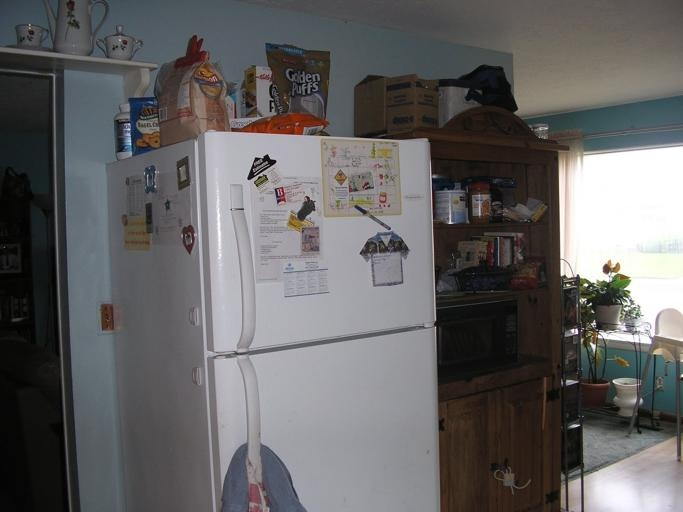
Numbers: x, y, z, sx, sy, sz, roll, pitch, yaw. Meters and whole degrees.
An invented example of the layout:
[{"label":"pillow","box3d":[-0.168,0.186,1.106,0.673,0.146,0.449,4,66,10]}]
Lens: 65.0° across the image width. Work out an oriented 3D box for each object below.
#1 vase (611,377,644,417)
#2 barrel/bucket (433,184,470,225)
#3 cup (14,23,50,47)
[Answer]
[{"label":"vase","box3d":[2.743,1.363,5.172,0.279,0.353,0.300,-3,1,-41]},{"label":"barrel/bucket","box3d":[0.612,-0.266,3.047,0.229,0.232,0.179,0,-2,-34]},{"label":"cup","box3d":[-1.298,-0.906,2.239,0.106,0.088,0.090,-5,4,-43]}]
